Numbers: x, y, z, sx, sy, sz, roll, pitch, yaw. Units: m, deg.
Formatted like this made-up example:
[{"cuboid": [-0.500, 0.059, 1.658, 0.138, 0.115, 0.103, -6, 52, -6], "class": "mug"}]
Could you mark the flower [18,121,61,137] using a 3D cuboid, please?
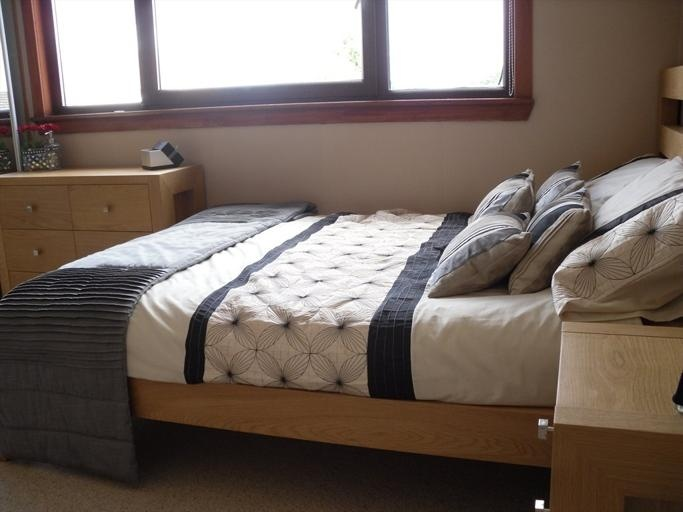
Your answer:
[{"cuboid": [-1.980, -0.828, 3.402, 0.176, 0.074, 0.157, 11, 15, 41], "class": "flower"}]
